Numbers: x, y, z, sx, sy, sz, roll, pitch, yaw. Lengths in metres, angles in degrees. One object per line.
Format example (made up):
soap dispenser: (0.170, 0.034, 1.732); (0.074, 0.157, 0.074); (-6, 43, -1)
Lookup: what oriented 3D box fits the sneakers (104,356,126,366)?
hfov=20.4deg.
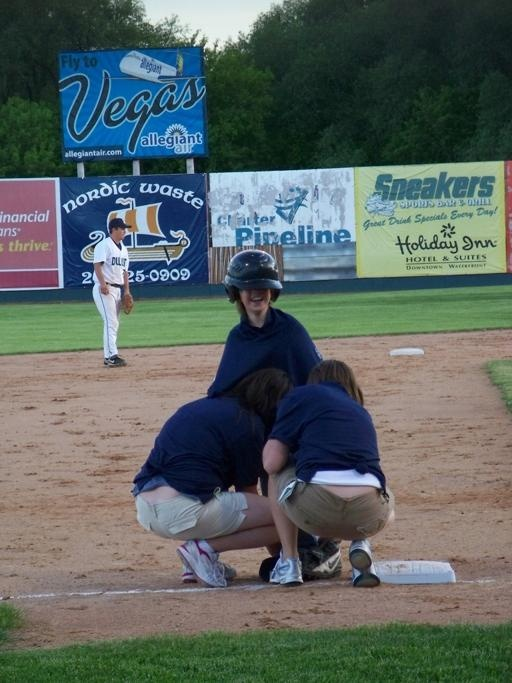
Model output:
sneakers: (-1.439, 0.199, 14.704); (0.202, 0.098, 0.090); (-4, -1, 34)

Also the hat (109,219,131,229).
hat: (-1.382, -1.197, 14.452); (0.236, 0.121, 0.145); (-6, 9, 0)

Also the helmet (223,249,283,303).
helmet: (-0.015, -0.377, 7.906); (0.240, 0.241, 0.321); (2, 18, -5)

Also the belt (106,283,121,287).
belt: (-1.427, -0.576, 14.521); (0.056, 0.052, 0.199); (2, 7, 26)

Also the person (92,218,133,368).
person: (-1.457, -0.493, 14.605); (0.378, 1.536, 0.689); (-2, 7, -6)

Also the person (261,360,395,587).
person: (0.403, 0.670, 7.626); (0.836, 1.266, 0.793); (10, -14, -27)

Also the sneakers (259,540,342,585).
sneakers: (0.253, 1.206, 7.783); (0.179, 0.222, 0.498); (-10, -11, 43)

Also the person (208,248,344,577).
person: (0.112, 0.397, 7.894); (0.783, 1.777, 0.636); (-9, -9, 10)

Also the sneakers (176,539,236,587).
sneakers: (-0.275, 1.187, 7.597); (0.135, 0.187, 0.413); (0, -29, 40)
